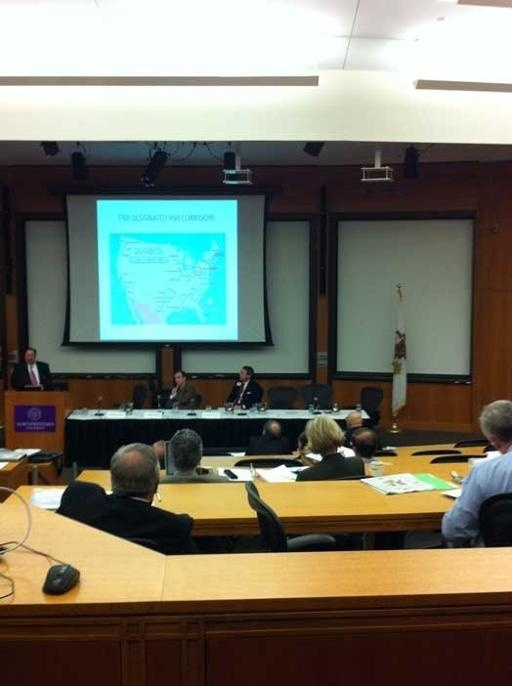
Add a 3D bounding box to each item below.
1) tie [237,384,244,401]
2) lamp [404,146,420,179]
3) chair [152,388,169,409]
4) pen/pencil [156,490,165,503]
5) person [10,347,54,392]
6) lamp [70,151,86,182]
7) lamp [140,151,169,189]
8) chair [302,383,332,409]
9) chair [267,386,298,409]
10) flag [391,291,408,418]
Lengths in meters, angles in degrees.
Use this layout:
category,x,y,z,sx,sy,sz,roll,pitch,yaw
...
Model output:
category,x,y,z,sx,sy,sz,roll,pitch,yaw
tie,-0.154,0.547,7.722,0.032,0.213,0.026,-1,-33,36
lamp,1.645,-1.925,7.357,0.138,0.411,0.367,4,-3,9
chair,-1.046,0.619,7.789,0.208,0.269,0.215,0,-5,-1
pen/pencil,-0.409,0.650,2.945,0.020,0.017,0.075,-8,11,-6
person,-2.541,0.311,7.853,0.467,0.746,0.406,-2,-12,-14
lamp,-1.963,-1.987,7.809,0.150,0.266,0.354,4,-3,-9
lamp,-1.044,-1.853,7.244,0.204,0.280,0.328,5,-3,-15
chair,0.667,0.575,7.556,0.295,0.358,0.276,-1,-6,5
chair,0.315,0.622,7.957,0.315,0.304,0.252,1,-4,-1
flag,1.828,0.114,8.763,0.221,1.732,0.355,4,-2,11
